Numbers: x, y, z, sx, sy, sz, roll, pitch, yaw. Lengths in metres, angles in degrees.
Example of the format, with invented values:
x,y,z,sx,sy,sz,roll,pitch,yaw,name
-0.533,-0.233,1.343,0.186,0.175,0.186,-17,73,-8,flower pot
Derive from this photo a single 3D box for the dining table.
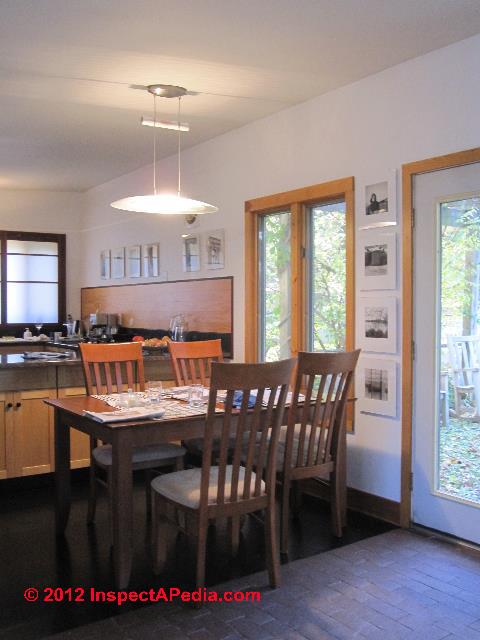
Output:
x,y,z,sx,sy,sz,roll,pitch,yaw,name
-0.405,0.537,2.388,0.949,0.671,0.739,1,-2,-41,dining table

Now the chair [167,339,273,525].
x,y,z,sx,sy,sz,roll,pitch,yaw,name
-0.277,0.473,3.636,0.631,1.033,0.715,2,-6,-27,chair

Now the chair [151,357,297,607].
x,y,z,sx,sy,sz,roll,pitch,yaw,name
-0.059,0.582,2.039,0.430,0.848,0.452,2,0,-39,chair

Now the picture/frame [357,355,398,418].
x,y,z,sx,sy,sz,roll,pitch,yaw,name
0.781,0.373,2.947,0.018,0.466,0.388,4,-5,-31,picture/frame

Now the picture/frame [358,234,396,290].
x,y,z,sx,sy,sz,roll,pitch,yaw,name
0.777,-0.327,2.946,0.008,0.375,0.332,-1,2,-23,picture/frame

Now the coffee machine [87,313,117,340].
x,y,z,sx,sy,sz,roll,pitch,yaw,name
-1.528,0.080,5.872,0.292,0.306,0.640,3,-3,-35,coffee machine

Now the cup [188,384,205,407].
x,y,z,sx,sy,sz,roll,pitch,yaw,name
-0.180,0.339,2.339,0.072,0.079,0.071,2,4,0,cup

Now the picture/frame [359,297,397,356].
x,y,z,sx,sy,sz,roll,pitch,yaw,name
0.783,0.033,2.943,0.022,0.399,0.340,-1,0,-27,picture/frame
